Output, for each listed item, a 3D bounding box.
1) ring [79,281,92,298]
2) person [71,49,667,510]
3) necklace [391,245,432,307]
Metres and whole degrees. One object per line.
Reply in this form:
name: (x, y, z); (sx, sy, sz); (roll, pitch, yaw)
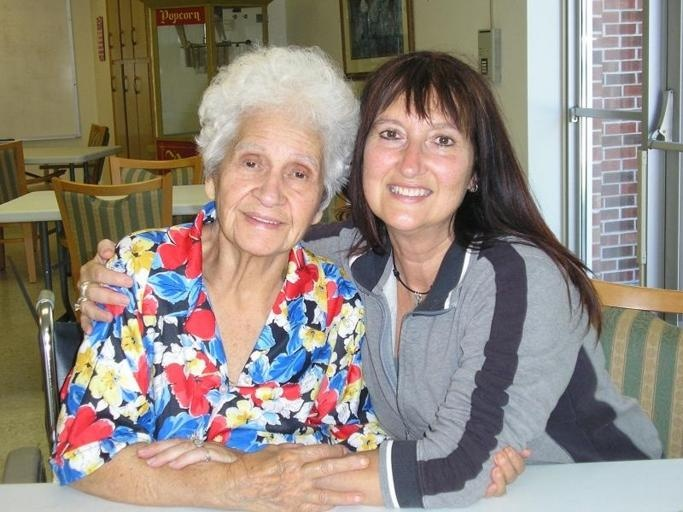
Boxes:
ring: (-0.664, 0.082, 1.762); (0.027, 0.038, 0.038); (7, 18, 15)
person: (0.265, 0.093, 2.204); (1.353, 1.288, 1.168); (1, 2, 30)
necklace: (0.197, 0.063, 1.987); (0.095, 0.135, 0.032); (-8, 16, 40)
